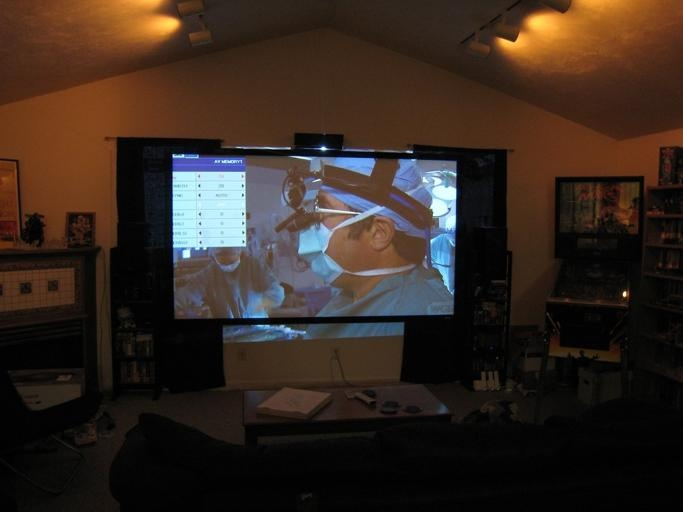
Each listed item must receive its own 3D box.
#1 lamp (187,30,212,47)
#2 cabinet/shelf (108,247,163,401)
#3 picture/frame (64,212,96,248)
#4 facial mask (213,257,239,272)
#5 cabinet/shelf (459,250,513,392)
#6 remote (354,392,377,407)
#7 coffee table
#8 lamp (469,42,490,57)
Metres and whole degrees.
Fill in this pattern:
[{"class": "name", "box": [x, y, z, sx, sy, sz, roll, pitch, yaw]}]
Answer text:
[{"class": "lamp", "box": [-1.196, -1.869, 5.277, 0.182, 0.151, 0.283, -4, 10, -12]}, {"class": "cabinet/shelf", "box": [-1.897, 0.614, 5.741, 0.473, 1.386, 0.199, -1, 10, 3]}, {"class": "picture/frame", "box": [-2.434, -0.243, 5.776, 0.308, 0.410, 0.046, 4, -5, -7]}, {"class": "facial mask", "box": [-1.016, 0.085, 5.564, 0.212, 0.111, 0.012, -4, 10, -12]}, {"class": "cabinet/shelf", "box": [1.413, 0.739, 6.018, 0.484, 1.108, 0.246, -2, 10, 0]}, {"class": "remote", "box": [0.180, 1.062, 4.637, 0.072, 0.035, 0.131, -11, 19, -38]}, {"class": "coffee table", "box": [0.084, 1.143, 4.635, 1.002, 0.242, 0.455, -1, 16, -7]}, {"class": "lamp", "box": [1.171, -1.767, 5.272, 0.159, 0.125, 0.071, -1, 10, 5]}]
